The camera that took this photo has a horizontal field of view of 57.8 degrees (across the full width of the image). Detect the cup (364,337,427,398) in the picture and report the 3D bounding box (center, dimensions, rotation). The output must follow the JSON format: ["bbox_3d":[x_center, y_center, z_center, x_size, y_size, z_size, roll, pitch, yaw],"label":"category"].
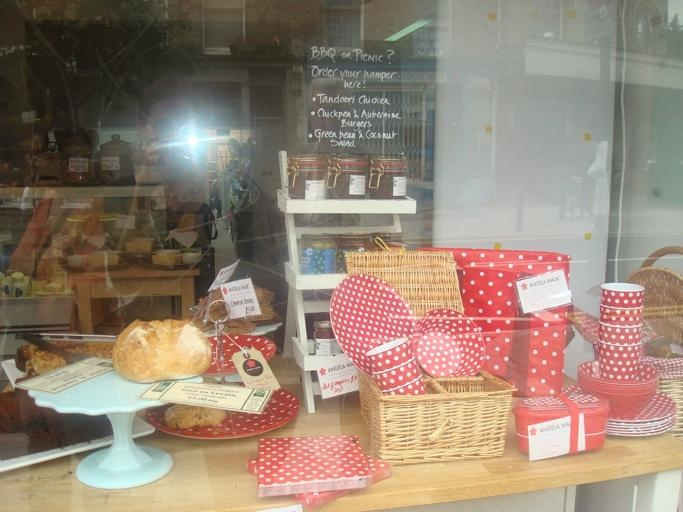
[{"bbox_3d":[0.127,0.291,1.630,0.137,0.142,0.132,-21,-5,-2],"label":"cup"}]

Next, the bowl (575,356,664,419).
[{"bbox_3d":[0.739,0.369,1.721,0.161,0.085,0.161,-3,4,0],"label":"bowl"}]

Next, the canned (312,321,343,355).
[{"bbox_3d":[-0.050,0.249,1.867,0.083,0.142,0.087,-3,-3,23],"label":"canned"}]

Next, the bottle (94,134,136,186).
[{"bbox_3d":[-0.678,-0.287,1.851,0.110,0.148,0.011,-4,9,-2],"label":"bottle"}]

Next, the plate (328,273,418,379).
[{"bbox_3d":[0.077,0.188,1.704,0.210,0.261,0.044,-31,0,-19],"label":"plate"}]

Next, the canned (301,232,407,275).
[{"bbox_3d":[0.000,-0.011,1.857,0.262,0.116,0.089,-3,9,7],"label":"canned"}]
